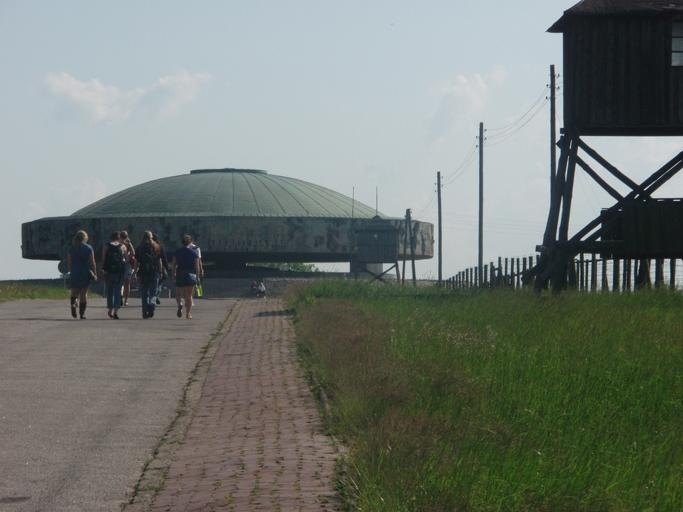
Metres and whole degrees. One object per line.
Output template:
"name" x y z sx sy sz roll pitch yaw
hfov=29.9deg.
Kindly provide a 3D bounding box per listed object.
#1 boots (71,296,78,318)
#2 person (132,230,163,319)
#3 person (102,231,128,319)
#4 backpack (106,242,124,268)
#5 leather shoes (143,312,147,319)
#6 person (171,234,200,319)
"boots" -5.596 1.071 26.681 0.127 0.487 0.289 0 0 -4
"person" -4.098 0.422 27.309 0.564 1.792 1.185 -2 12 -9
"person" -4.826 0.461 27.187 0.531 1.943 1.478 -3 13 -10
"backpack" -4.839 0.005 27.214 0.333 0.557 0.269 4 -28 -13
"leather shoes" -4.127 1.259 26.931 0.113 0.113 0.066 -3 12 -9
"person" -3.297 0.436 26.994 0.446 1.893 1.001 4 13 20
